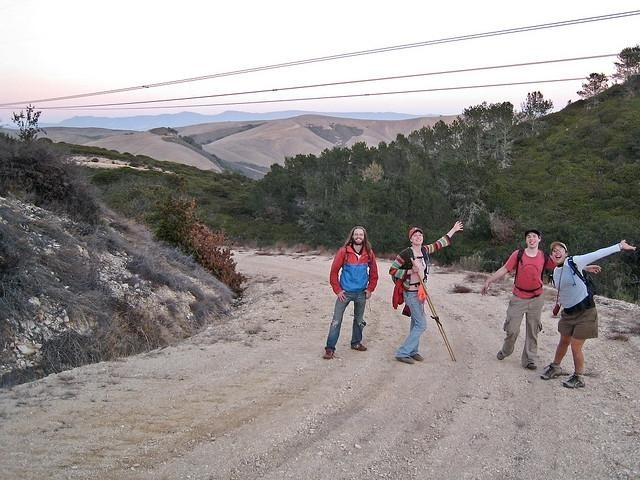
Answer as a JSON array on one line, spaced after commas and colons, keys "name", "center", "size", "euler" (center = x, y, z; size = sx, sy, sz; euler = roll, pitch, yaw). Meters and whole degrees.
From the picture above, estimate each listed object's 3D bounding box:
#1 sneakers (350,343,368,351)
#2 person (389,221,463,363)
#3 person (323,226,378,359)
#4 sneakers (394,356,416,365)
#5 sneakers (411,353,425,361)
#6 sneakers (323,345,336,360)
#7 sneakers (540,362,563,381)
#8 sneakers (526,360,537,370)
[{"name": "sneakers", "center": [0.862, 2.334, 9.507], "size": [0.141, 0.165, 0.368], "euler": [3, -7, -42]}, {"name": "person", "center": [2.030, 1.091, 8.952], "size": [0.899, 2.703, 1.210], "euler": [5, 10, 32]}, {"name": "person", "center": [0.651, 1.077, 9.241], "size": [1.090, 2.743, 1.108], "euler": [2, 9, 11]}, {"name": "sneakers", "center": [1.732, 2.387, 8.722], "size": [0.371, 0.170, 0.134], "euler": [2, 5, 14]}, {"name": "sneakers", "center": [1.982, 2.388, 8.870], "size": [0.109, 0.145, 0.307], "euler": [-2, -2, -34]}, {"name": "sneakers", "center": [0.196, 2.362, 9.104], "size": [0.232, 0.171, 0.342], "euler": [1, 2, -4]}, {"name": "sneakers", "center": [4.164, 2.382, 7.931], "size": [0.588, 0.309, 0.205], "euler": [1, 0, -33]}, {"name": "sneakers", "center": [4.036, 2.385, 8.263], "size": [0.099, 0.104, 0.233], "euler": [-2, -16, 5]}]
